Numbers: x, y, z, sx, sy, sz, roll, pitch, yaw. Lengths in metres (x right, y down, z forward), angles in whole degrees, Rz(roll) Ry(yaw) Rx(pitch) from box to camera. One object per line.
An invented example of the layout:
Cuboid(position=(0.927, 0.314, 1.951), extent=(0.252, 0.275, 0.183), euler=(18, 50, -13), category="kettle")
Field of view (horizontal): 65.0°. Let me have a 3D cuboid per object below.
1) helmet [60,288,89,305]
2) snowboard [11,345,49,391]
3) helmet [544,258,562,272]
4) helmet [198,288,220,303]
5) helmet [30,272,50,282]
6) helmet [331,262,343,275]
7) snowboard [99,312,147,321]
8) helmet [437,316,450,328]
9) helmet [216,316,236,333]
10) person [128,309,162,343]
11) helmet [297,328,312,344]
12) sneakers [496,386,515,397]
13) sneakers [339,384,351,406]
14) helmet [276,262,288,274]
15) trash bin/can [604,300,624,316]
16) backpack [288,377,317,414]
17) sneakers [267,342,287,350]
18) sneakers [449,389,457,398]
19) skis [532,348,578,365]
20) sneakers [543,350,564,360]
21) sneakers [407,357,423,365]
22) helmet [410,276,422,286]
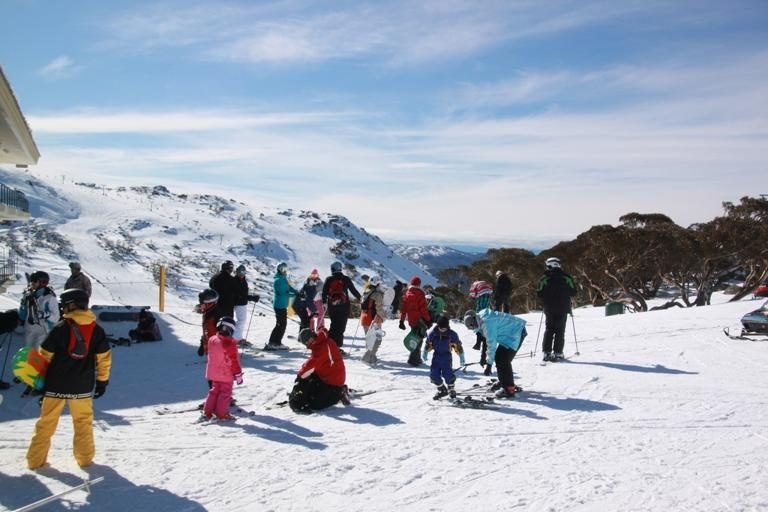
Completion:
Cuboid(position=(-5.402, 0.702, 10.590), extent=(0.412, 0.287, 0.291), euler=(-10, 15, -33), category="helmet")
Cuboid(position=(-6.181, 1.935, 10.410), extent=(0.705, 0.630, 0.533), euler=(15, -11, -33), category="snowboard")
Cuboid(position=(4.423, 0.235, 15.945), extent=(0.394, 0.400, 0.450), euler=(10, 23, 17), category="helmet")
Cuboid(position=(-4.037, 0.924, 13.816), extent=(0.399, 0.306, 0.305), euler=(21, 21, 32), category="helmet")
Cuboid(position=(-7.804, 0.429, 13.649), extent=(0.370, 0.261, 0.289), euler=(15, 3, 26), category="helmet")
Cuboid(position=(-1.280, 0.305, 16.303), extent=(0.301, 0.320, 0.339), euler=(1, -15, -4), category="helmet")
Cuboid(position=(-9.006, 2.082, 20.872), extent=(1.018, 0.178, 0.221), euler=(-1, 23, -10), category="snowboard")
Cuboid(position=(1.279, 1.464, 13.459), extent=(0.222, 0.240, 0.275), euler=(5, -5, -1), category="helmet")
Cuboid(position=(-3.247, 1.391, 12.553), extent=(0.380, 0.323, 0.318), euler=(-16, 17, -37), category="helmet")
Cuboid(position=(-7.481, 2.184, 18.894), extent=(1.391, 0.991, 1.329), euler=(5, 1, -26), category="person")
Cuboid(position=(-1.695, 1.706, 12.790), extent=(0.299, 0.325, 0.295), euler=(0, -3, 38), category="helmet")
Cuboid(position=(2.694, 3.029, 13.518), extent=(0.325, 0.138, 0.266), euler=(-6, 0, 35), category="sneakers")
Cuboid(position=(-0.853, 3.046, 13.192), extent=(0.179, 0.473, 0.213), euler=(-2, -16, -6), category="sneakers")
Cuboid(position=(-2.986, 0.299, 17.587), extent=(0.273, 0.326, 0.347), euler=(37, 32, 31), category="helmet")
Cuboid(position=(10.799, 2.462, 28.367), extent=(0.621, 0.597, 1.110), euler=(0, -3, 37), category="trash bin/can")
Cuboid(position=(-1.772, 2.996, 12.974), extent=(0.529, 0.731, 0.236), euler=(2, -2, -6), category="backpack")
Cuboid(position=(-3.211, 2.690, 18.043), extent=(0.655, 0.230, 0.205), euler=(1, -1, -8), category="sneakers")
Cuboid(position=(1.505, 3.046, 13.368), extent=(0.160, 0.176, 0.281), euler=(2, -2, 10), category="sneakers")
Cuboid(position=(4.533, 2.697, 16.126), extent=(0.728, 0.279, 0.208), euler=(-13, 18, -3), category="skis")
Cuboid(position=(4.427, 2.629, 15.946), extent=(0.638, 0.189, 0.274), euler=(2, -9, -6), category="sneakers")
Cuboid(position=(0.845, 2.928, 16.703), extent=(0.163, 0.160, 0.404), euler=(5, -10, -44), category="sneakers")
Cuboid(position=(0.803, 0.673, 16.283), extent=(0.295, 0.257, 0.225), euler=(-20, 39, -40), category="helmet")
